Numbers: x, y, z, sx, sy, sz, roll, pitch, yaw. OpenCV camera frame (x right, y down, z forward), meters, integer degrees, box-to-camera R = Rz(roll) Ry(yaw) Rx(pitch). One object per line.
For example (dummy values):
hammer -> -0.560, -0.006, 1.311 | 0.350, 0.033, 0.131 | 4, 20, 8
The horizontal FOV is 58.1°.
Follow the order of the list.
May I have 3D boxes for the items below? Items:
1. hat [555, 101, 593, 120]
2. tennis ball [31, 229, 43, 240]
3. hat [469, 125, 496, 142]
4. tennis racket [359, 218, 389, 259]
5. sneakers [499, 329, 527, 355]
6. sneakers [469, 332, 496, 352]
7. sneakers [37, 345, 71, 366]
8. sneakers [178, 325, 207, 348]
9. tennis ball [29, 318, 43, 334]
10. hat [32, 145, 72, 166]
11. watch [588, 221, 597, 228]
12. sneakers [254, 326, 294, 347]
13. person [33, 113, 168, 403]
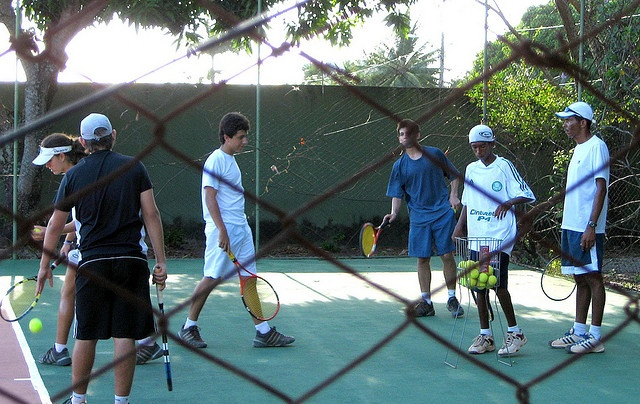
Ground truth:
hat -> 2.608, -0.919, 5.897 | 0.303, 0.151, 0.198 | 3, 3, 10
tennis ball -> -2.506, 0.284, 5.137 | 0.080, 0.082, 0.150 | 0, 6, -22
hat -> 1.645, -0.687, 5.873 | 0.222, 0.204, 0.323 | -1, -3, 13
tennis racket -> 0.659, 0.426, 6.877 | 0.290, 0.424, 0.672 | -1, -3, 17
sneakers -> 1.918, 1.397, 5.773 | 0.391, 0.195, 0.143 | -20, 1, -35
sneakers -> 1.652, 1.426, 5.797 | 0.303, 0.140, 0.129 | 6, -10, -40
sneakers -> -2.497, 1.456, 5.457 | 0.335, 0.158, 0.129 | 2, -2, 21
sneakers -> -1.316, 1.400, 6.000 | 0.256, 0.217, 0.396 | 0, -3, -21
tennis ball -> -3.004, 1.326, 6.122 | 0.094, 0.094, 0.111 | 36, -7, 0
hat -> -2.358, -0.411, 5.096 | 0.267, 0.097, 0.163 | -25, 12, -22
watch -> 2.705, 0.228, 5.724 | 0.073, 0.051, 0.070 | 11, 0, -14
sneakers -> -0.470, 1.411, 6.001 | 0.431, 0.196, 0.112 | 0, -3, -6
person -> -1.642, 0.463, 4.531 | 0.962, 2.359, 0.784 | -3, -3, 44
